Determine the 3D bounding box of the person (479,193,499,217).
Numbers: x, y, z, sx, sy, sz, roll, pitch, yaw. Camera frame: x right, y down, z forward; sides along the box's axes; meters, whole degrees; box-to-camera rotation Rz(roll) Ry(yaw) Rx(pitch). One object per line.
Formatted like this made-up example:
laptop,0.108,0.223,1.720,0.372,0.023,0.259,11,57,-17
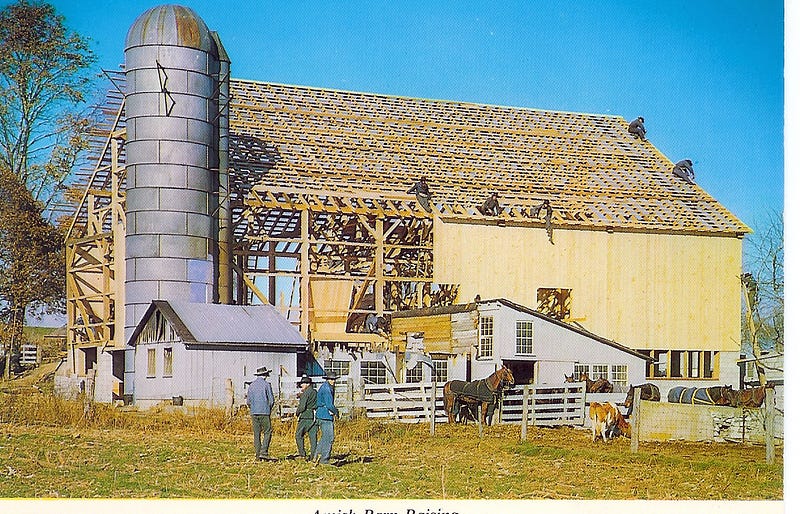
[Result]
person,4.702,-2.725,93.297,0.852,1.184,0.766,14,-10,41

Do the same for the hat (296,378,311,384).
hat,-4.002,5.183,74.816,0.621,0.250,0.689,1,-2,-11

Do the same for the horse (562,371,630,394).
horse,9.468,6.045,85.178,2.693,1.239,4.086,-1,-8,8

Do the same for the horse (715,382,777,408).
horse,16.062,6.493,82.382,1.665,1.051,2.869,2,-8,-17

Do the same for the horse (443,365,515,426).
horse,3.825,6.598,84.045,2.300,2.622,3.576,7,-11,-42

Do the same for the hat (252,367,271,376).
hat,-6.372,5.121,79.928,0.810,0.327,0.898,-11,-13,-1
